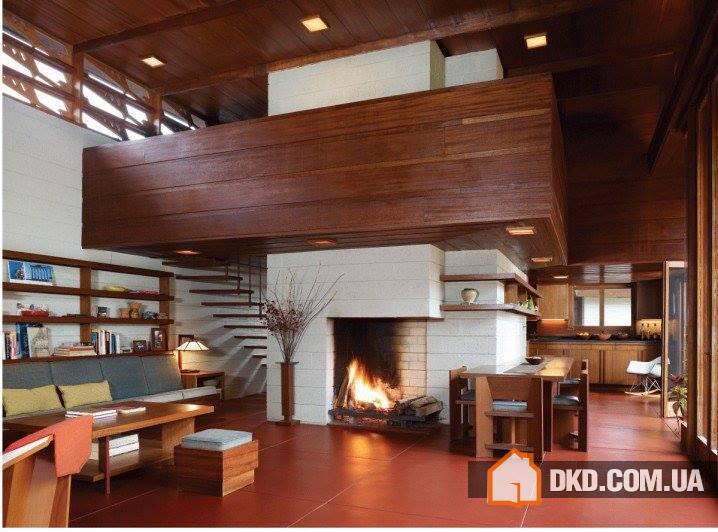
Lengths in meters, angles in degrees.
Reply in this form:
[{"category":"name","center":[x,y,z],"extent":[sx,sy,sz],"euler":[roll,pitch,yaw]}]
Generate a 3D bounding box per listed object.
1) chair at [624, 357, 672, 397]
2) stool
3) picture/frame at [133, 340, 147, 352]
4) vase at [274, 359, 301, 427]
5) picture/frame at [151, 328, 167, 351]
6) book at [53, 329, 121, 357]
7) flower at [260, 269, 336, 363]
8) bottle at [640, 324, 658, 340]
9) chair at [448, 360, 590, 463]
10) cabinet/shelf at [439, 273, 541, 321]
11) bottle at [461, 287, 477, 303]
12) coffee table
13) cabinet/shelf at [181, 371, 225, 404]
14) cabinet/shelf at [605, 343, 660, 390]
[{"category":"chair","center":[5.659,2.156,10.409],"extent":[0.725,0.531,0.615],"euler":[-4,16,-2]},{"category":"stool","center":[-1.269,1.729,4.926],"extent":[0.672,0.444,0.604],"euler":[-2,-4,28]},{"category":"picture/frame","center":[-3.492,1.257,8.424],"extent":[0.027,0.136,0.187],"euler":[-18,-11,25]},{"category":"vase","center":[-1.003,1.776,7.551],"extent":[0.285,0.855,0.312],"euler":[1,-4,-8]},{"category":"picture/frame","center":[-3.305,1.204,8.739],"extent":[0.059,0.463,0.408],"euler":[-5,-6,30]},{"category":"book","center":[-3.776,1.114,7.576],"extent":[0.426,0.205,0.594],"euler":[-2,-6,41]},{"category":"flower","center":[-0.935,0.705,7.620],"extent":[1.118,1.305,0.446],"euler":[-3,-5,35]},{"category":"bottle","center":[6.630,1.498,12.221],"extent":[0.457,0.367,0.348],"euler":[-3,-9,36]},{"category":"chair","center":[1.902,1.660,6.311],"extent":[1.384,0.907,1.645],"euler":[-3,-5,34]},{"category":"cabinet/shelf","center":[2.128,0.450,8.133],"extent":[0.933,0.595,2.473],"euler":[-2,-5,31]},{"category":"bottle","center":[1.531,0.402,7.287],"extent":[0.291,0.212,0.176],"euler":[3,-5,-36]},{"category":"coffee table","center":[-2.257,1.544,5.290],"extent":[1.170,0.492,1.314],"euler":[0,0,24]},{"category":"cabinet/shelf","center":[-2.676,2.035,8.987],"extent":[0.436,0.394,0.737],"euler":[0,-3,22]},{"category":"cabinet/shelf","center":[5.680,2.050,11.013],"extent":[1.216,0.887,0.641],"euler":[-1,-2,35]}]
